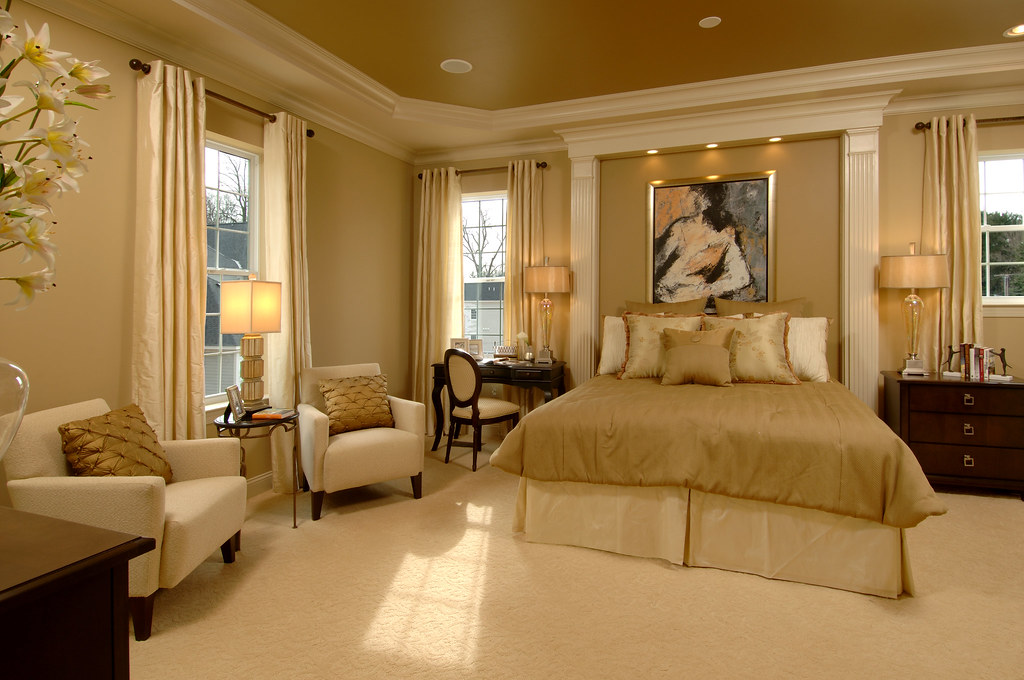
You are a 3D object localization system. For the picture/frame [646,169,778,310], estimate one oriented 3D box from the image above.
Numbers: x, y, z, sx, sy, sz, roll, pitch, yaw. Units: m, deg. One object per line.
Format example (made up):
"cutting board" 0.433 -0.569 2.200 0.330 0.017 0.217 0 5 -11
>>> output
"picture/frame" 1.900 -0.928 6.814 1.106 1.153 0.147 -2 4 23

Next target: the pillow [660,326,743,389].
"pillow" 1.468 0.152 5.623 0.503 0.466 0.156 0 -26 19

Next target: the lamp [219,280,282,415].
"lamp" -1.938 0.033 5.372 0.424 0.966 0.371 -4 4 -20

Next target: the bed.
"bed" 1.597 0.791 5.053 1.921 1.047 2.103 -1 -3 24

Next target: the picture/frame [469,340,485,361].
"picture/frame" -0.356 0.116 7.280 0.028 0.253 0.217 -3 -3 39

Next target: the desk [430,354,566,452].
"desk" -0.113 0.789 7.026 1.416 1.030 0.857 -2 -4 22

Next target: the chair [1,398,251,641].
"chair" -2.309 0.961 4.699 1.359 1.492 1.366 0 1 8

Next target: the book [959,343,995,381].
"book" 3.764 0.199 5.813 0.265 0.348 0.367 0 -1 31

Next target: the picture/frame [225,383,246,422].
"picture/frame" -2.022 0.471 5.253 0.110 0.263 0.262 -1 -3 4
